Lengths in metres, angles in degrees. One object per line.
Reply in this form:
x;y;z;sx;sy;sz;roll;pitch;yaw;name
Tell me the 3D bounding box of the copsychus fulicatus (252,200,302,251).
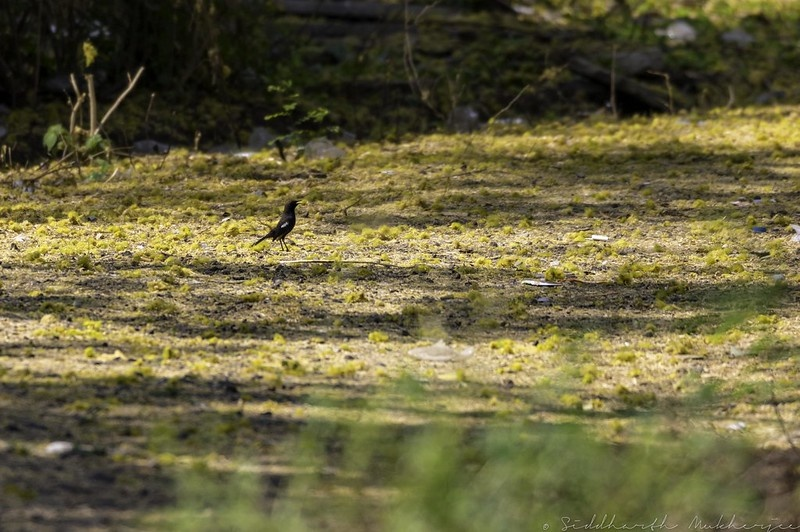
-1.651;-0.520;19.088;0.793;0.667;0.253;-16;23;-39;copsychus fulicatus
